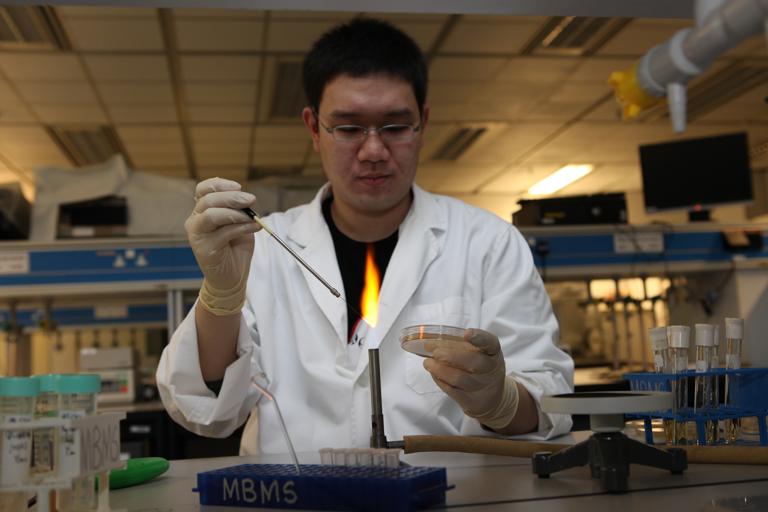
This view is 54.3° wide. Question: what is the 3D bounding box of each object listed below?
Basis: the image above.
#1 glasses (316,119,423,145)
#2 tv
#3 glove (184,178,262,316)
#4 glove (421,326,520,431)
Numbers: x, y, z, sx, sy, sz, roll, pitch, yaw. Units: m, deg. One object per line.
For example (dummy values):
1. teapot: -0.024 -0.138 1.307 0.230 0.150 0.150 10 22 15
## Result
1. glasses: -0.057 -0.512 3.119 0.391 0.110 0.068 -4 -11 -1
2. tv: 2.116 -0.538 5.002 0.055 0.386 0.558 -11 2 -40
3. glove: -0.627 -0.007 2.878 0.262 0.448 0.238 -1 -12 -15
4. glove: 0.343 0.460 2.729 0.263 0.345 0.541 -13 -14 38
